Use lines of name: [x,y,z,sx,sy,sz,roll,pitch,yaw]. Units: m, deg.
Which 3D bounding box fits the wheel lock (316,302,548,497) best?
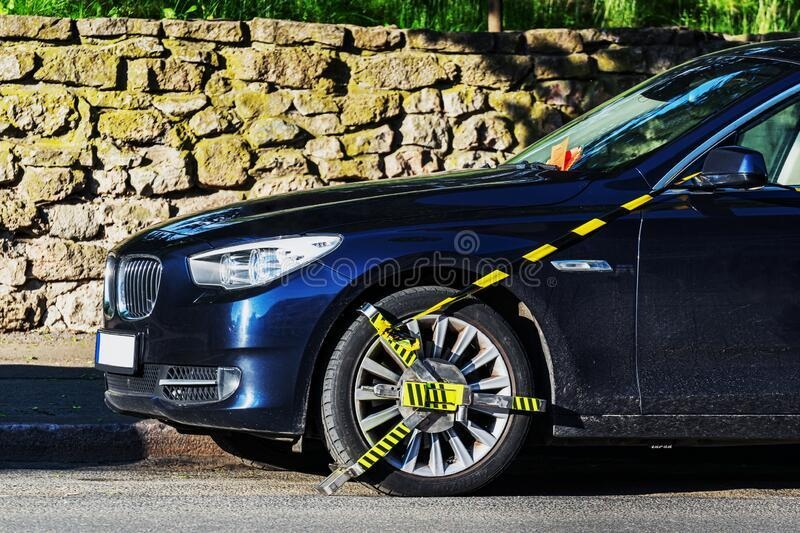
wheel lock: [0.221,0.839,8.607,1.681,1.133,0.514,-29,4,-1]
